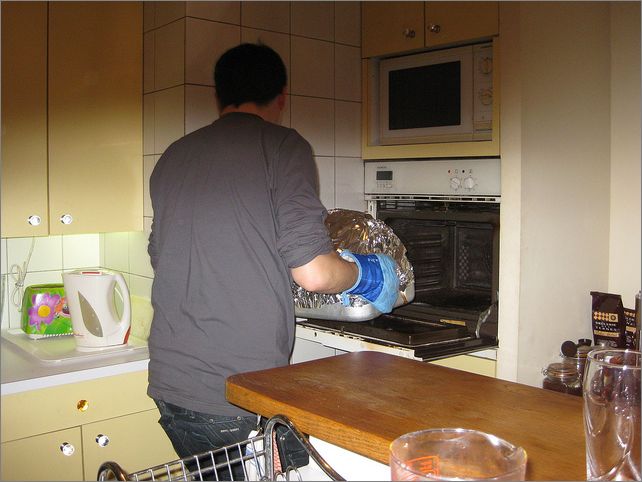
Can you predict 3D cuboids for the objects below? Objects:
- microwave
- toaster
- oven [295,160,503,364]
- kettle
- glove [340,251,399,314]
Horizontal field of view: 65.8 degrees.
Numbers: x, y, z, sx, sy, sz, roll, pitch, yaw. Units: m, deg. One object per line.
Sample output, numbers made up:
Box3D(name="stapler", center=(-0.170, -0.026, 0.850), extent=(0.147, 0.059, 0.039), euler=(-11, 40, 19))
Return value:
Box3D(name="microwave", center=(0.454, -0.578, 1.988), extent=(0.335, 0.383, 0.571), euler=(-4, 7, -41))
Box3D(name="toaster", center=(-1.125, 0.282, 2.127), extent=(0.266, 0.244, 0.167), euler=(-5, 11, -33))
Box3D(name="oven", center=(0.329, 0.036, 1.946), extent=(0.555, 0.712, 0.711), euler=(1, 1, -33))
Box3D(name="kettle", center=(-0.880, 0.258, 1.945), extent=(0.207, 0.354, 0.195), euler=(-3, 13, -43))
Box3D(name="glove", center=(0.119, 0.106, 1.218), extent=(0.140, 0.161, 0.077), euler=(-1, 7, 1))
